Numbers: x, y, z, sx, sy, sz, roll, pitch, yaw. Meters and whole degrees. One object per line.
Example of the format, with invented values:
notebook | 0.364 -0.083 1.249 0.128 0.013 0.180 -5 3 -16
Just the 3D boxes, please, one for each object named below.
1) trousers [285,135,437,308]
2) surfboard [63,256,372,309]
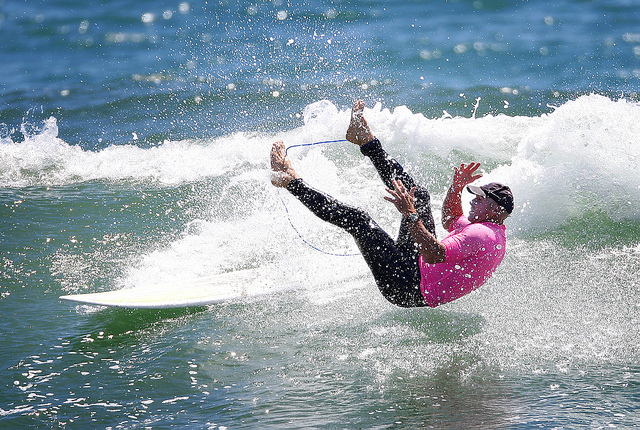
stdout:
trousers | 0.997 0.279 14.483 1.627 1.819 2.122 -30 42 -19
surfboard | -1.661 1.124 15.391 3.435 0.153 0.443 -8 29 -13
